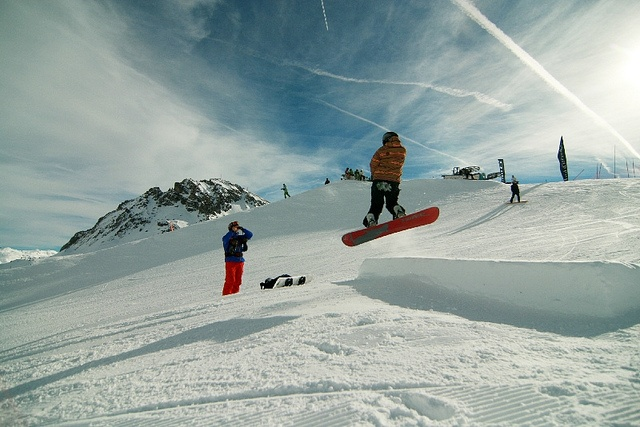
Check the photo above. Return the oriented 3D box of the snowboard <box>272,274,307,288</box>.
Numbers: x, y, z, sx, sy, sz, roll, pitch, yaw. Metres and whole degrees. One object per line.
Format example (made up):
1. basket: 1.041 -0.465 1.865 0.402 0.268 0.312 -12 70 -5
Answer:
1. snowboard: -0.772 1.764 10.303 0.351 0.276 1.083 -5 3 35
